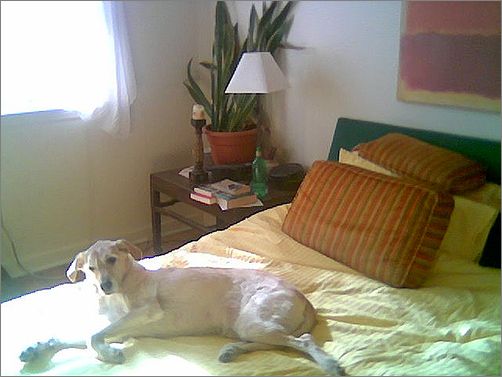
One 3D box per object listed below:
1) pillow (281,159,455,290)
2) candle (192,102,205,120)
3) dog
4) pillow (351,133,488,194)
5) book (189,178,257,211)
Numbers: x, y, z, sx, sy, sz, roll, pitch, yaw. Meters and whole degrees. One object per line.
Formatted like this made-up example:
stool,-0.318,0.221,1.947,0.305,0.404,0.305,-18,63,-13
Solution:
pillow,0.501,0.137,1.615,0.727,0.442,0.197,26,-4,43
candle,-0.342,-0.513,2.594,0.106,0.116,0.105,-1,10,-6
dog,-0.158,0.362,1.293,1.020,0.441,0.339,2,-8,-3
pillow,0.749,-0.140,1.794,0.264,0.103,0.426,-24,36,-33
book,-0.127,-0.001,2.340,0.229,0.055,0.235,-13,25,-35
